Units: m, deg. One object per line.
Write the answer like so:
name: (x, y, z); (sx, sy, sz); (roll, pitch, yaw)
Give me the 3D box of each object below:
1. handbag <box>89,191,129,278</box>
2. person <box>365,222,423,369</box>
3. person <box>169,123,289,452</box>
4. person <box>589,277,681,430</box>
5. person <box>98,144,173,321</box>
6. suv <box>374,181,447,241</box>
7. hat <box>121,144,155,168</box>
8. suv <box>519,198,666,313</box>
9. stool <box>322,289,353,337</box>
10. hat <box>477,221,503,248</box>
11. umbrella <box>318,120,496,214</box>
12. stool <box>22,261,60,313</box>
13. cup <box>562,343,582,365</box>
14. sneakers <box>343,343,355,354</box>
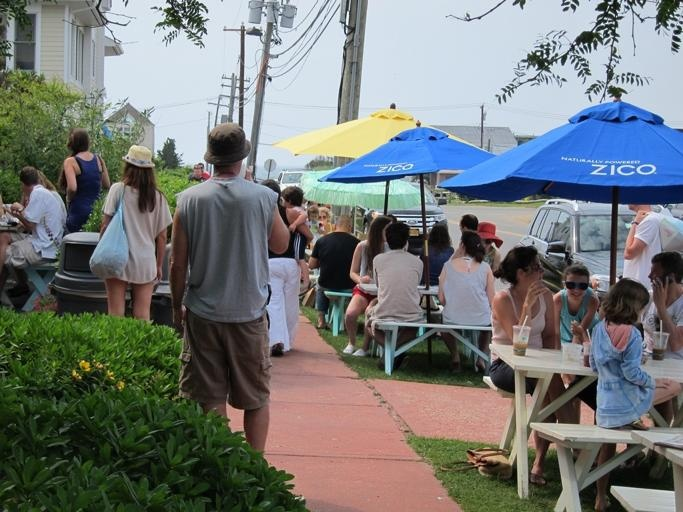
handbag: (-2.280, -0.218, 7.555); (0.358, 0.930, 0.287); (2, 6, -16)
person: (0.669, 0.500, 9.487); (0.706, 1.811, 0.579); (4, 6, 3)
person: (-0.826, 0.348, 5.640); (0.782, 2.546, 0.670); (1, 7, -10)
person: (2.111, 0.732, 5.715); (0.427, 1.062, 0.407); (4, 6, 4)
person: (-2.182, -0.028, 8.013); (0.679, 2.149, 0.604); (5, 12, -13)
suv: (1.794, -1.165, 20.884); (1.780, 1.712, 3.907); (0, 7, 1)
hat: (-2.059, -0.997, 7.758); (0.283, 0.216, 0.422); (3, 6, -7)
suv: (4.636, -0.106, 14.051); (2.088, 2.081, 4.015); (-10, 2, 11)
stool: (-0.108, 0.842, 11.652); (0.573, 0.666, 0.570); (-3, 9, -44)
hat: (2.176, -0.243, 11.277); (0.419, 0.233, 0.370); (26, 8, -1)
umbrella: (0.813, -1.206, 9.534); (1.129, 0.578, 1.200); (-10, 7, 36)
stool: (-4.176, 0.377, 10.597); (0.687, 0.765, 0.775); (0, 8, -17)
cup: (1.863, 0.791, 6.212); (0.151, 0.111, 0.125); (-2, -1, 29)
sneakers: (0.097, 1.264, 10.365); (0.113, 0.109, 0.246); (2, 1, 6)
